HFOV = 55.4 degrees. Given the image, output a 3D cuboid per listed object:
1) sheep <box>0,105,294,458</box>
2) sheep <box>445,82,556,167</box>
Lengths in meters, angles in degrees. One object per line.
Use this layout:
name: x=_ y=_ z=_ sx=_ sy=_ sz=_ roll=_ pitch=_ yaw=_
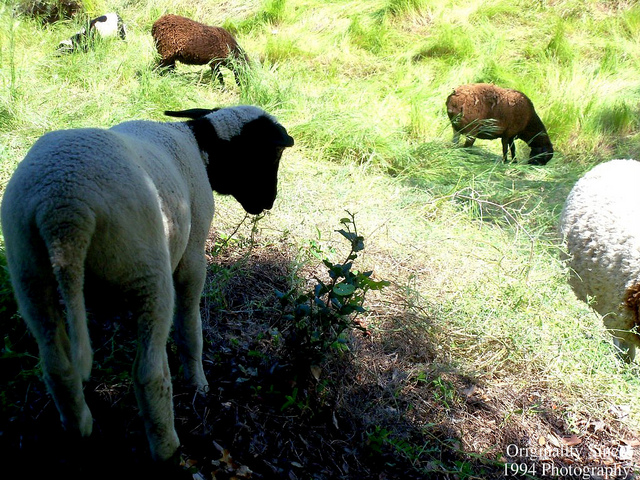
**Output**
sheep: x=-0.933 y=0.147 z=3.361 sx=0.827 sy=1.719 sz=1.298 roll=10 pitch=14 yaw=24
sheep: x=2.021 y=-1.293 z=6.808 sx=1.290 sy=0.833 sz=0.431 roll=-2 pitch=15 yaw=-25
